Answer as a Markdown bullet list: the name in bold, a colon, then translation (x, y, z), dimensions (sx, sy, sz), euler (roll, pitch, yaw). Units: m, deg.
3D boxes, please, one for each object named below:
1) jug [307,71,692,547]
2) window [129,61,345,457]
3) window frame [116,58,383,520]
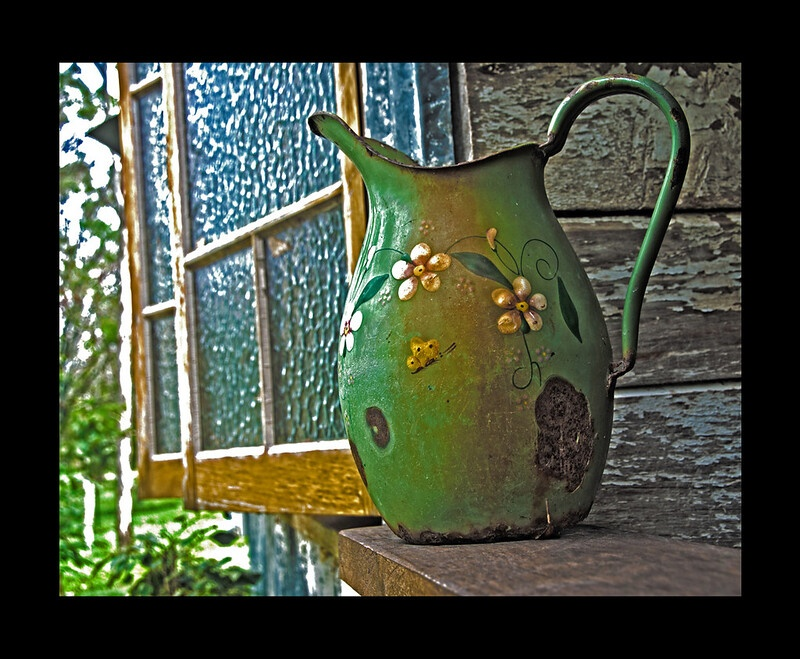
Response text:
- **jug**: translation (0.143, -0.020, 1.346), dimensions (0.427, 0.552, 0.316), euler (-3, -1, 0)
- **window**: translation (-0.291, -0.127, 1.933), dimensions (0.035, 0.926, 0.749), euler (-1, -2, -32)
- **window frame**: translation (-0.261, -0.079, 1.856), dimensions (0.071, 1.054, 0.849), euler (2, -5, -39)
